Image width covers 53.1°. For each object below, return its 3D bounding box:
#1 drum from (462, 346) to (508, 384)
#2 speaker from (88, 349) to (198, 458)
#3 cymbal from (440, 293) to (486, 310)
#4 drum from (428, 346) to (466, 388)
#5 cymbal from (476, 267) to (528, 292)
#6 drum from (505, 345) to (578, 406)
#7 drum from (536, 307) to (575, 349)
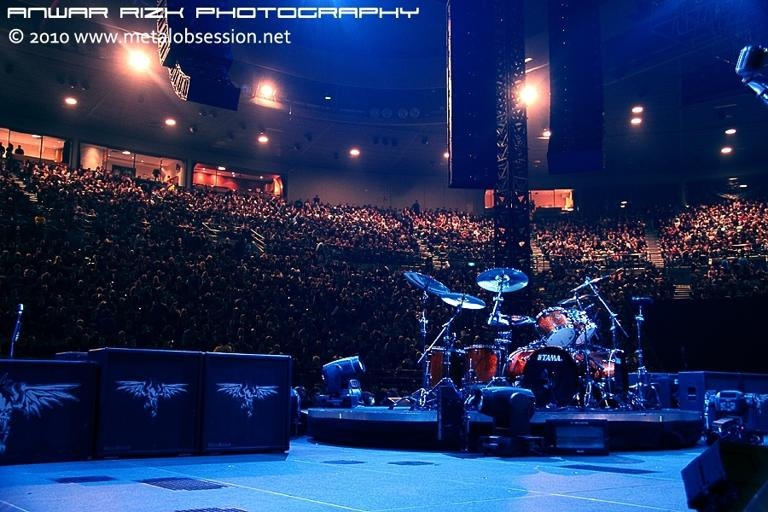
[{"bbox_3d":[1.733,1.923,13.574,0.632,0.447,0.611,1,-17,0],"label":"drum"},{"bbox_3d":[-3.330,2.073,10.962,1.466,1.509,0.439,-2,12,-15],"label":"speaker"},{"bbox_3d":[1.407,0.791,13.349,0.469,0.102,0.456,23,-13,-23],"label":"cymbal"},{"bbox_3d":[1.156,2.117,14.752,0.828,0.797,0.827,1,-15,0],"label":"drum"},{"bbox_3d":[2.087,0.426,13.403,0.791,0.569,0.896,6,12,26],"label":"cymbal"},{"bbox_3d":[2.790,2.092,13.317,1.192,1.113,0.881,-1,-5,-7],"label":"drum"},{"bbox_3d":[3.047,1.292,13.800,0.695,0.659,0.676,28,-51,-20],"label":"drum"}]
